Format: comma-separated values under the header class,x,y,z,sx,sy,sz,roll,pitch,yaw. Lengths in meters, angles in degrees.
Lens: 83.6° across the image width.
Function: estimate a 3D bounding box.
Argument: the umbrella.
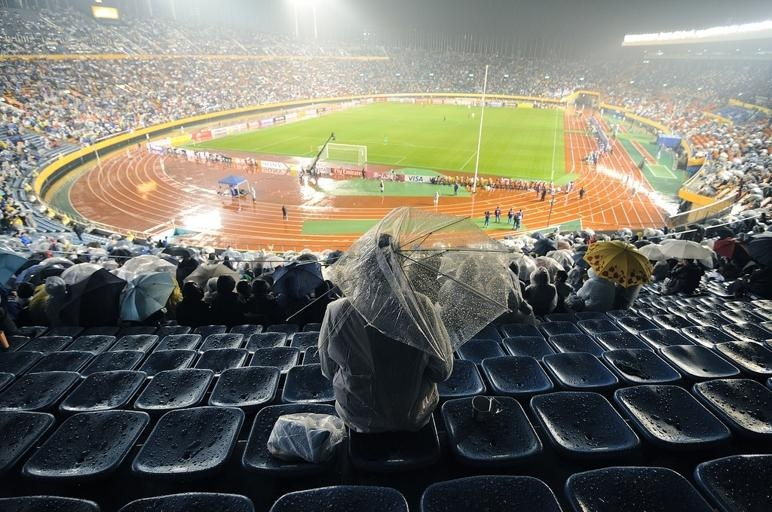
class,x,y,z,sx,sy,sz,roll,pitch,yaw
umbrella,0.360,0.338,4.519,1.757,1.132,1.055,3,31,1
